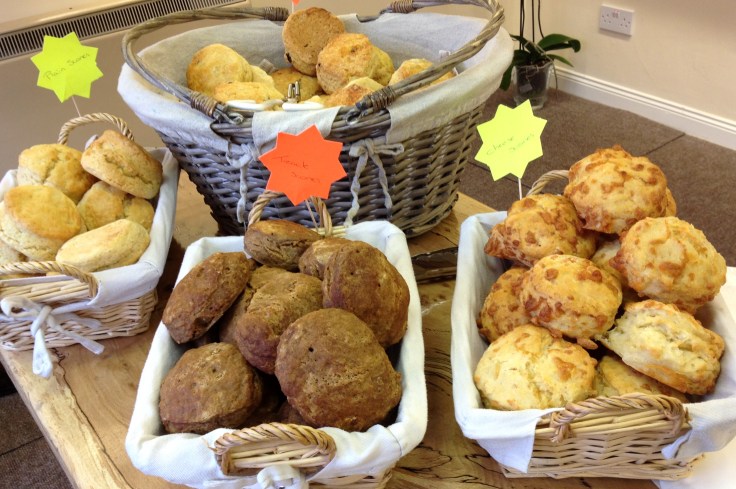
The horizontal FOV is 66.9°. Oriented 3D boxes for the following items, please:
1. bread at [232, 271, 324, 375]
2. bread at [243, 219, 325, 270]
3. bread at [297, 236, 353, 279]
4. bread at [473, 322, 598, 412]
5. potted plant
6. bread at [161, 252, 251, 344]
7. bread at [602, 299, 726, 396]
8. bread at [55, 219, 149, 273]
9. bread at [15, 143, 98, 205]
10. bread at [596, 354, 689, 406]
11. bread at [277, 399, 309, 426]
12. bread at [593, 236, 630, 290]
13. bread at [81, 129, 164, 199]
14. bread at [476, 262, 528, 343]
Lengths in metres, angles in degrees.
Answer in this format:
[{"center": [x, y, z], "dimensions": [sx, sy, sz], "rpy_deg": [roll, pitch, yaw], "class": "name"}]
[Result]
[{"center": [-0.158, 0.118, 0.981], "dimensions": [0.136, 0.064, 0.177], "rpy_deg": [15, 38, 12], "class": "bread"}, {"center": [-0.162, -0.015, 1.083], "dimensions": [0.121, 0.062, 0.099], "rpy_deg": [14, 11, 19], "class": "bread"}, {"center": [-0.076, 0.019, 1.074], "dimensions": [0.091, 0.050, 0.071], "rpy_deg": [-14, 9, 16], "class": "bread"}, {"center": [0.291, 0.225, 0.957], "dimensions": [0.189, 0.066, 0.163], "rpy_deg": [25, 56, 17], "class": "bread"}, {"center": [0.954, -0.995, 3.184], "dimensions": [0.310, 0.365, 0.396], "rpy_deg": [33, 59, 22], "class": "potted plant"}, {"center": [-0.274, 0.100, 1.056], "dimensions": [0.126, 0.064, 0.175], "rpy_deg": [27, 81, 40], "class": "bread"}, {"center": [0.520, 0.183, 0.958], "dimensions": [0.186, 0.062, 0.145], "rpy_deg": [32, 78, 16], "class": "bread"}, {"center": [-0.528, 0.010, 1.118], "dimensions": [0.144, 0.049, 0.105], "rpy_deg": [-25, 9, -15], "class": "bread"}, {"center": [-0.678, -0.155, 1.253], "dimensions": [0.143, 0.081, 0.139], "rpy_deg": [28, 20, -16], "class": "bread"}, {"center": [0.449, 0.236, 0.957], "dimensions": [0.085, 0.107, 0.035], "rpy_deg": [21, 63, 22], "class": "bread"}, {"center": [-0.126, 0.286, 0.946], "dimensions": [0.046, 0.014, 0.033], "rpy_deg": [18, 25, 8], "class": "bread"}, {"center": [0.469, 0.036, 1.062], "dimensions": [0.065, 0.025, 0.082], "rpy_deg": [-19, 35, 21], "class": "bread"}, {"center": [-0.530, -0.169, 1.263], "dimensions": [0.105, 0.159, 0.156], "rpy_deg": [-60, 25, -6], "class": "bread"}, {"center": [0.257, 0.107, 1.087], "dimensions": [0.077, 0.100, 0.137], "rpy_deg": [21, 45, 30], "class": "bread"}]
